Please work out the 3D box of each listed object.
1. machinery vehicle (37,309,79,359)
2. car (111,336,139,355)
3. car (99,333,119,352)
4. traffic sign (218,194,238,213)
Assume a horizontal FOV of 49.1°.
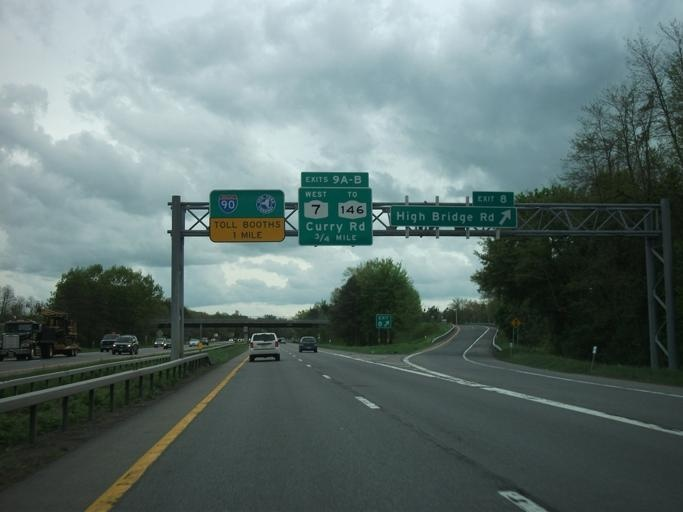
[{"bbox_3d":[-19.855,5.285,50.632,1.307,2.588,4.766,-1,-8,-3],"label":"machinery vehicle"},{"bbox_3d":[-18.367,7.580,64.166,1.298,1.343,2.861,0,-14,-5],"label":"car"},{"bbox_3d":[-21.539,7.976,69.336,1.616,1.872,3.014,1,-13,-7],"label":"car"},{"bbox_3d":[-4.840,-2.227,31.824,0.688,0.829,0.086,-1,-15,-7],"label":"traffic sign"}]
